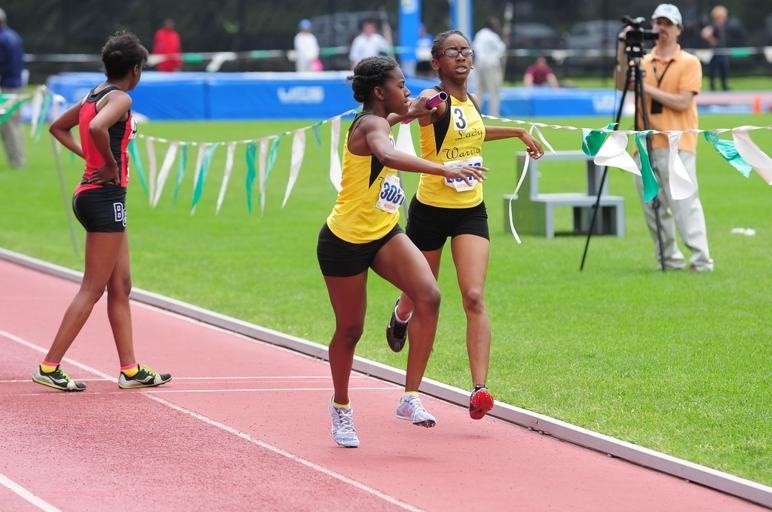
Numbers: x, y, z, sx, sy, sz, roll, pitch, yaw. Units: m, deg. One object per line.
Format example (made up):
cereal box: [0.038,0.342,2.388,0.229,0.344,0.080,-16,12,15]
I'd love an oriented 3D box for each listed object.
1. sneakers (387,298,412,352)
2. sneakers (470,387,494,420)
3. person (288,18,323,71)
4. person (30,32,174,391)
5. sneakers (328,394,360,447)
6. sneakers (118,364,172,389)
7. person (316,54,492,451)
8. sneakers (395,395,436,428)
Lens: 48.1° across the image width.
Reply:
sneakers: [0.111,0.559,6.772,0.152,0.424,0.171,-2,19,-12]
sneakers: [0.593,0.947,5.521,0.113,0.231,0.116,-2,49,-12]
person: [-2.342,-6.195,25.790,0.698,1.470,1.218,-3,14,-6]
person: [-2.182,-0.314,6.508,0.932,2.624,0.713,-5,14,-14]
sneakers: [-0.296,1.083,5.633,0.135,0.360,0.153,-9,-23,-21]
sneakers: [-1.842,0.918,6.632,0.462,0.187,0.156,-2,0,-12]
person: [-0.017,-0.011,5.521,0.838,2.433,0.616,-3,14,-5]
sneakers: [0.193,1.003,5.680,0.135,0.161,0.406,5,-2,-27]
